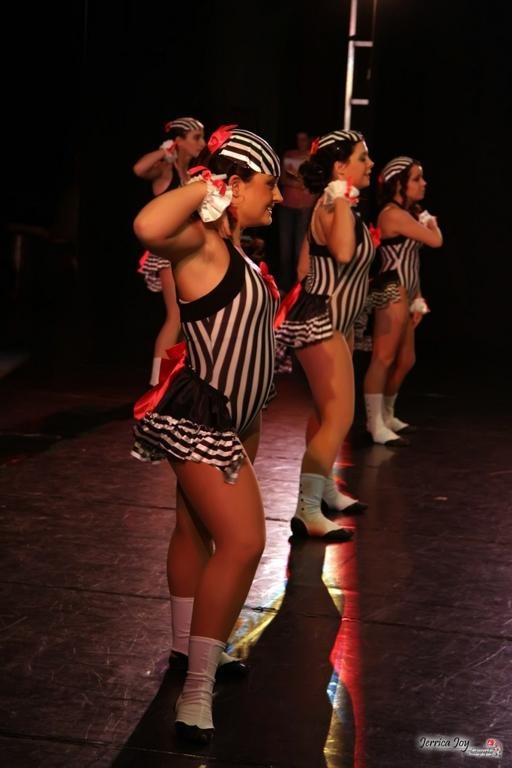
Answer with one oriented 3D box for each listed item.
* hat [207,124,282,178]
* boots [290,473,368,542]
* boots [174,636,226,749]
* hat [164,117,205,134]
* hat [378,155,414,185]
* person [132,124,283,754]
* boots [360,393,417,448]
[{"bbox_3d":[-0.021,-0.523,1.646,0.152,0.058,0.141,15,14,-21],"label":"hat"},{"bbox_3d":[0.324,0.472,3.074,0.275,0.251,0.427,-3,7,12],"label":"boots"},{"bbox_3d":[-0.121,0.637,1.478,0.093,0.188,0.130,2,6,-3],"label":"boots"},{"bbox_3d":[-0.535,-2.019,5.540,0.322,0.104,0.307,3,13,16],"label":"hat"},{"bbox_3d":[0.965,-1.472,4.779,0.233,0.119,0.180,-27,2,10],"label":"hat"},{"bbox_3d":[-0.106,0.065,1.599,0.350,1.367,0.498,2,6,-8],"label":"person"},{"bbox_3d":[0.908,0.252,4.758,0.333,0.351,0.514,-3,8,12],"label":"boots"}]
